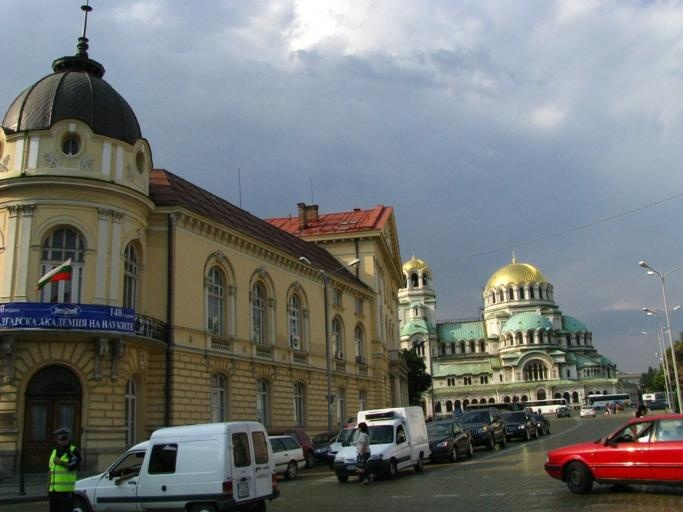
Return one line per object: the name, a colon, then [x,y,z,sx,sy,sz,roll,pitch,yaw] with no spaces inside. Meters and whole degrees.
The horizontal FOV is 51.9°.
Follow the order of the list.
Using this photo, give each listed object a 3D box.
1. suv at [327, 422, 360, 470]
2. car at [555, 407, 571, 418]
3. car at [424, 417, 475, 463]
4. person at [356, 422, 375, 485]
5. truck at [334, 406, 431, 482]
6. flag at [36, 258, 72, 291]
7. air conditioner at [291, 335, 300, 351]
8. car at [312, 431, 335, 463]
suv: [-0.051,7.079,27.101,1.011,1.076,2.003,-5,-23,10]
car: [29.480,20.699,93.568,1.332,1.155,2.338,-7,-26,11]
car: [4.616,8.135,30.624,1.540,1.791,3.457,2,-6,23]
person: [0.813,6.867,24.786,0.584,1.946,1.389,4,-6,1]
truck: [1.583,7.011,26.510,2.008,2.076,3.891,-9,-22,24]
flag: [-12.043,0.784,29.256,1.210,1.331,0.147,-3,-4,14]
air conditioner: [-2.881,5.325,43.421,0.263,0.765,0.851,-5,-8,18]
car: [-1.058,9.733,36.058,1.315,1.279,2.552,-3,-21,6]
